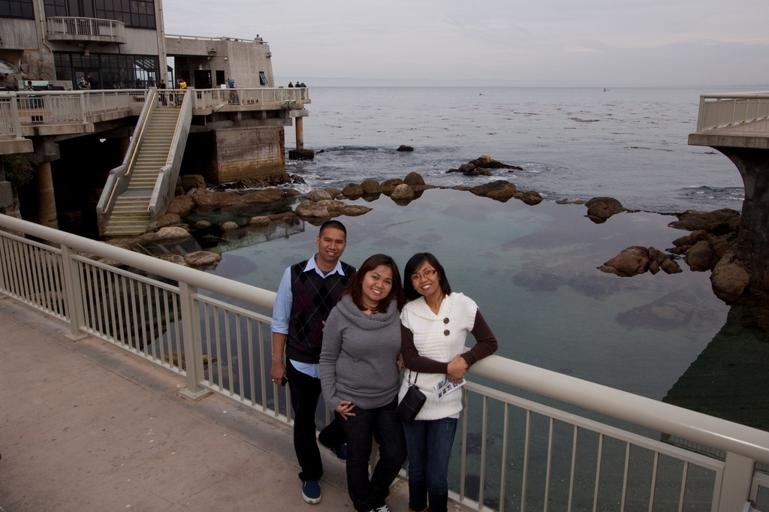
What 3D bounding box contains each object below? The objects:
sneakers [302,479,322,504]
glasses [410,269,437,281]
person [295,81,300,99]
[{"bbox_3d":[-0.654,2.132,4.477,0.108,0.088,0.238,2,-2,-9],"label":"sneakers"},{"bbox_3d":[0.312,0.157,4.005,0.193,0.088,0.052,4,21,8],"label":"glasses"},{"bbox_3d":[-6.255,-11.988,36.278,0.484,0.936,1.528,-3,19,-9],"label":"person"}]
